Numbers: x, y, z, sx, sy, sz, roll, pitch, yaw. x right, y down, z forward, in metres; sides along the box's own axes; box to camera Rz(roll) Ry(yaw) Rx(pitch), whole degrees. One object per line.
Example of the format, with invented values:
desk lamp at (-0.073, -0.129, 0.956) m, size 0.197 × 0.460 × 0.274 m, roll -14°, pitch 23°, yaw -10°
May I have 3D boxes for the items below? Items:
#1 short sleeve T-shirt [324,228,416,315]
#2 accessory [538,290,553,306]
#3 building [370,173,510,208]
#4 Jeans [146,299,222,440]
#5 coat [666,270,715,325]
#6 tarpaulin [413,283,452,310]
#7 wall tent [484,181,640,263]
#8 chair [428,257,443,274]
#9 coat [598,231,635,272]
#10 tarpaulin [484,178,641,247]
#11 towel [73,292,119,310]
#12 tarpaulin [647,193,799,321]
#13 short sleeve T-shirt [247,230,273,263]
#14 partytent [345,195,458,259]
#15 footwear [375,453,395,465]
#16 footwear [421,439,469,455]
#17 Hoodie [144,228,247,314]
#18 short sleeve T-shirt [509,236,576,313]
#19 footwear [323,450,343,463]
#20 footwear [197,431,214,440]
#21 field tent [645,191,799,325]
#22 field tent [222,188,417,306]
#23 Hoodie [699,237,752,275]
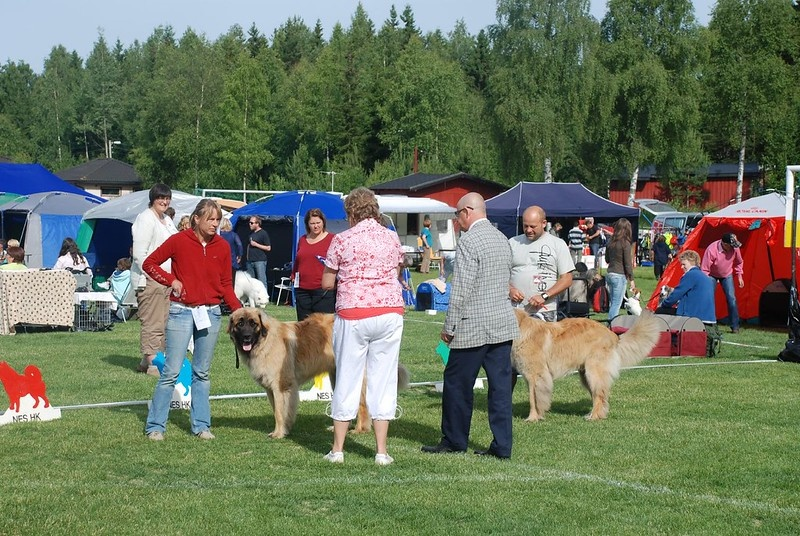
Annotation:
short sleeve T-shirt at (-0.619, 0.164, 21.088) m, size 1.485 × 1.857 × 0.993 m, roll 3°, pitch -20°, yaw -17°
accessory at (2.943, 0.611, 22.663) m, size 0.184 × 0.434 × 0.535 m, roll -10°, pitch -12°, yaw 30°
building at (2.956, -4.065, 59.145) m, size 5.423 × 2.166 × 6.736 m, roll -1°, pitch 6°, yaw 4°
Jeans at (-4.111, 2.058, 21.782) m, size 1.182 × 3.090 × 0.741 m, roll 4°, pitch -45°, yaw -6°
coat at (7.235, 0.678, 27.426) m, size 1.163 × 1.292 × 1.004 m, roll 4°, pitch 2°, yaw 34°
tarpaulin at (0.819, 0.914, 32.354) m, size 0.684 × 0.684 × 0.908 m, roll 2°, pitch 3°, yaw 23°
wall tent at (5.679, -2.012, 43.148) m, size 6.761 × 2.643 × 3.815 m, roll 1°, pitch -3°, yaw 44°
chair at (1.540, -0.068, 46.398) m, size 0.553 × 0.856 × 0.594 m, roll 1°, pitch -3°, yaw 1°
coat at (5.648, -0.294, 28.783) m, size 0.558 × 1.133 × 0.818 m, roll 3°, pitch 1°, yaw -30°
tarpaulin at (5.841, -2.199, 43.071) m, size 6.404 × 2.461 × 3.580 m, roll 5°, pitch 9°, yaw 41°
towel at (-8.024, 0.858, 29.366) m, size 1.049 × 0.419 × 0.600 m, roll 0°, pitch 0°, yaw -14°
tarpaulin at (9.011, -0.477, 31.125) m, size 3.649 × 2.610 × 3.943 m, roll 0°, pitch 0°, yaw 0°
short sleeve T-shirt at (-4.113, -0.627, 32.226) m, size 0.584 × 0.928 × 0.467 m, roll 0°, pitch 0°, yaw -10°
partytent at (0.213, -1.231, 34.156) m, size 2.209 × 1.226 × 2.336 m, roll -1°, pitch 10°, yaw -10°
footwear at (-0.302, 3.564, 20.883) m, size 0.303 × 0.180 × 0.137 m, roll 1°, pitch -38°, yaw -21°
footwear at (0.849, 3.368, 21.406) m, size 0.841 × 0.378 × 0.330 m, roll 5°, pitch -4°, yaw 5°
Hoodie at (-3.897, 0.047, 22.072) m, size 2.477 × 2.215 × 1.215 m, roll 2°, pitch -2°, yaw -33°
short sleeve T-shirt at (2.898, 0.152, 23.172) m, size 1.713 × 1.883 × 1.013 m, roll 2°, pitch 2°, yaw 32°
footwear at (-1.236, 3.540, 21.006) m, size 0.170 × 0.163 × 0.361 m, roll -2°, pitch 6°, yaw -39°
footwear at (-3.789, 3.261, 21.723) m, size 0.267 × 0.164 × 0.116 m, roll 2°, pitch -26°, yaw 9°
field tent at (9.154, -0.410, 30.971) m, size 3.693 × 2.613 × 3.883 m, roll 0°, pitch 0°, yaw -9°
field tent at (-2.971, -1.087, 34.296) m, size 3.617 × 2.552 × 3.940 m, roll -6°, pitch -21°, yaw -1°
Hoodie at (8.560, -0.196, 29.417) m, size 1.331 × 1.301 × 0.806 m, roll -2°, pitch 4°, yaw -12°
